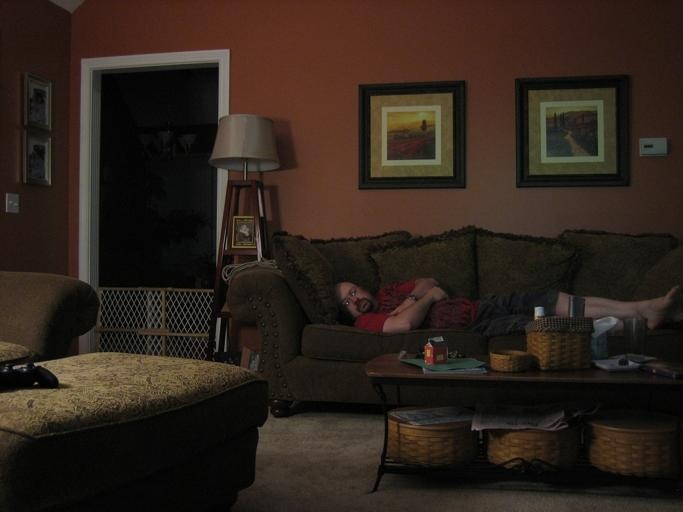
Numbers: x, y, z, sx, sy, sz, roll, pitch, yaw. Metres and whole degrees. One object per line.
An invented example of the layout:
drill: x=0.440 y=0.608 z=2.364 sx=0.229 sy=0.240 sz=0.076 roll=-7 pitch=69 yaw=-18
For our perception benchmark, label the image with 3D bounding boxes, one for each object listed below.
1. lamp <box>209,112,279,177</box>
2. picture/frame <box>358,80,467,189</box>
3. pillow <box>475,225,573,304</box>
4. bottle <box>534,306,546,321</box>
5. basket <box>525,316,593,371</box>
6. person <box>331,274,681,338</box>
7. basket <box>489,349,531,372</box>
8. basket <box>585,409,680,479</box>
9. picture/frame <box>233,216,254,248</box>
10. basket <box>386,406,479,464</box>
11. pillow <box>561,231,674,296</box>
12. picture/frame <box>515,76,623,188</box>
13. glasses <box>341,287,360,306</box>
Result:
lamp: x=-0.673 y=-0.777 z=4.268 sx=0.464 sy=0.449 sz=0.467 roll=-1 pitch=-8 yaw=4
picture/frame: x=0.559 y=-0.910 z=4.302 sx=0.799 sy=0.803 sz=0.065 roll=1 pitch=1 yaw=2
pillow: x=1.118 y=0.021 z=3.561 sx=0.455 sy=0.463 sz=0.141 roll=5 pitch=-11 yaw=13
bottle: x=0.857 y=0.246 z=2.514 sx=0.063 sy=0.072 sz=0.065 roll=-1 pitch=-3 yaw=22
basket: x=0.933 y=0.372 z=2.561 sx=0.262 sy=0.225 sz=0.346 roll=0 pitch=-3 yaw=5
person: x=0.842 y=0.289 z=3.342 sx=1.765 sy=0.270 sz=0.936 roll=1 pitch=3 yaw=33
basket: x=0.702 y=0.424 z=2.404 sx=0.110 sy=0.040 sz=0.098 roll=0 pitch=-2 yaw=-25
basket: x=1.188 y=0.732 z=2.375 sx=0.269 sy=0.144 sz=0.264 roll=4 pitch=-6 yaw=-35
picture/frame: x=-0.703 y=-0.173 z=4.250 sx=0.191 sy=0.222 sz=0.020 roll=2 pitch=3 yaw=17
basket: x=0.439 y=0.827 z=2.601 sx=0.347 sy=0.150 sz=0.349 roll=-2 pitch=-10 yaw=-3
pillow: x=1.736 y=0.047 z=3.729 sx=0.522 sy=0.458 sz=0.125 roll=-3 pitch=-17 yaw=14
picture/frame: x=1.656 y=-0.895 z=4.160 sx=0.796 sy=0.804 sz=0.059 roll=1 pitch=1 yaw=2
glasses: x=0.056 y=0.250 z=3.539 sx=0.077 sy=0.067 sz=0.035 roll=44 pitch=-4 yaw=38
